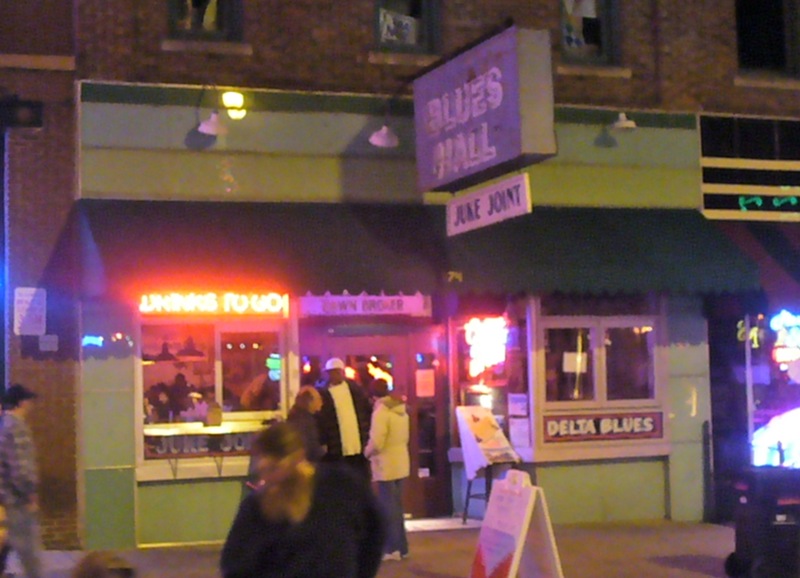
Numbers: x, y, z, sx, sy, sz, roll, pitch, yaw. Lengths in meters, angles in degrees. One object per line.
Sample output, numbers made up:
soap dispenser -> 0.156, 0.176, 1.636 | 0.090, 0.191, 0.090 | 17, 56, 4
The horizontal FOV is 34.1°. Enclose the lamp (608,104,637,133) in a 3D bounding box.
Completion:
lamp -> 3.541, -2.696, 20.461 | 0.427, 0.363, 0.311 | 0, -9, -5

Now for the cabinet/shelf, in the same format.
cabinet/shelf -> 1.310, 2.708, 20.201 | 0.837, 1.814, 1.080 | 7, -11, -40

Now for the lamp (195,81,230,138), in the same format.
lamp -> -2.808, -2.609, 19.160 | 0.627, 0.653, 0.600 | -1, 0, 23

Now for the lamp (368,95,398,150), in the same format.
lamp -> -0.249, -2.405, 19.540 | 0.459, 0.426, 0.483 | 4, -10, -6
